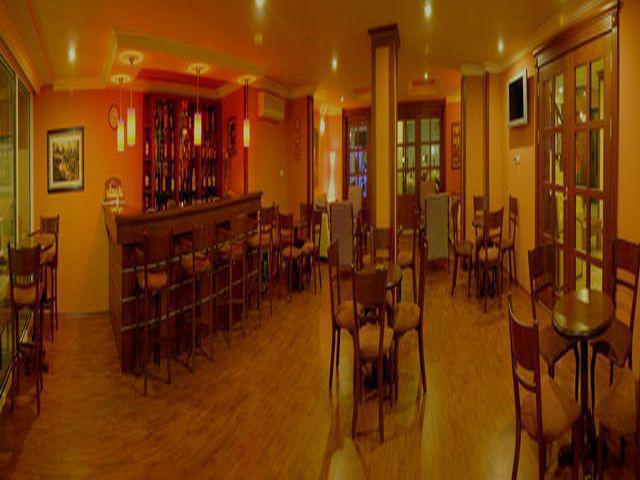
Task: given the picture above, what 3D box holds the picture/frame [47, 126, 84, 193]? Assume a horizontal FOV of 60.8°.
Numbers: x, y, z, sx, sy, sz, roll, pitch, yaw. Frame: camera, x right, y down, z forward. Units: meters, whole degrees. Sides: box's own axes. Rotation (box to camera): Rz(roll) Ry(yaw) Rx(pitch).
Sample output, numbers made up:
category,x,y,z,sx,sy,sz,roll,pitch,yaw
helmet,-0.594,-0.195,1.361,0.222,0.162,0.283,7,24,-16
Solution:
category,x,y,z,sx,sy,sz,roll,pitch,yaw
picture/frame,-4.284,-1.362,9.160,0.579,1.347,0.048,-2,-29,-25
